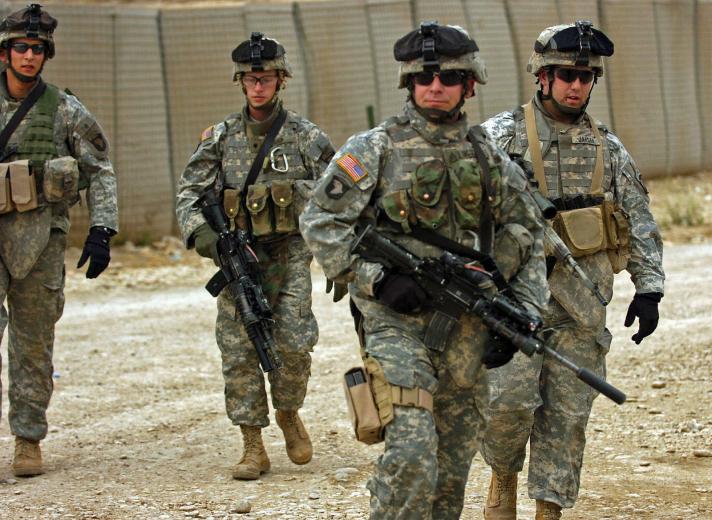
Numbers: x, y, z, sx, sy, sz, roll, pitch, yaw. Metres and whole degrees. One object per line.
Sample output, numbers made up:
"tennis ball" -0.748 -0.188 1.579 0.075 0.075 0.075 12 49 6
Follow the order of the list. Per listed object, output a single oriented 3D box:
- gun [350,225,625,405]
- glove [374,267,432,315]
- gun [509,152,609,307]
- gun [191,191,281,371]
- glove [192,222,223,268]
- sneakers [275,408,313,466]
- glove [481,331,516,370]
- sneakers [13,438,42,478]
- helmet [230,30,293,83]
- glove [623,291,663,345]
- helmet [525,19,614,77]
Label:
"gun" 0.803 0.364 8.410 1.937 0.703 0.263 29 11 1
"glove" 0.296 0.208 8.206 0.358 0.254 0.138 -1 15 -1
"gun" 1.372 -0.160 8.747 0.143 1.037 0.405 -30 -12 -10
"gun" -0.886 0.150 9.692 0.356 1.224 0.819 -15 20 -41
"glove" -1.086 -0.103 9.808 0.223 0.306 0.142 -35 6 18
"sneakers" -0.466 1.370 9.909 0.180 0.520 0.205 -20 -29 -6
"glove" 0.919 0.598 8.271 0.233 0.222 0.069 3 10 -11
"sneakers" -2.474 1.481 9.696 0.238 0.262 0.271 -5 15 -15
"helmet" -0.730 -1.575 10.003 0.376 0.294 0.414 1 16 10
"glove" 2.003 0.429 8.960 0.234 0.397 0.296 3 15 16
"helmet" 1.514 -1.474 9.168 0.468 0.279 0.457 3 0 -21
